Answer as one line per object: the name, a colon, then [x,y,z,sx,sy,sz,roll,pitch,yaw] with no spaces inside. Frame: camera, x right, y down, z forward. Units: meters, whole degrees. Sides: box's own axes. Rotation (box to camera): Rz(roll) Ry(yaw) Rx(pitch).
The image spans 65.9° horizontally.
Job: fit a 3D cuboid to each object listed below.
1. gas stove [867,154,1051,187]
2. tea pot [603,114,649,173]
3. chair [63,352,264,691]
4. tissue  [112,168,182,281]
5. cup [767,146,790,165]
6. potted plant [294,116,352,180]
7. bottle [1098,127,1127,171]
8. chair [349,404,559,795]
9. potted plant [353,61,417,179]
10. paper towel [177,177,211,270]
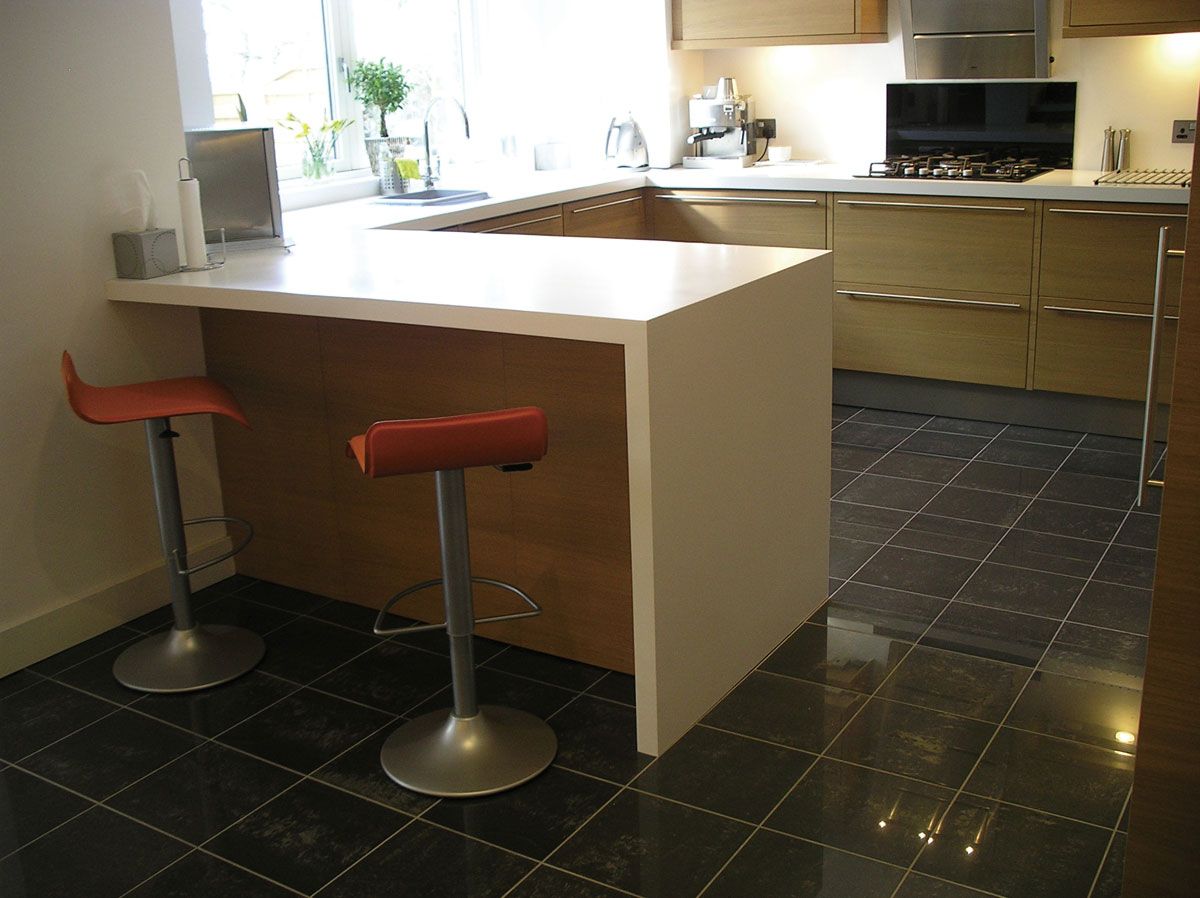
gas stove: [1.770,-1.390,4.598,0.831,0.104,0.554,3,20,20]
tea pot: [0.150,-1.737,5.227,0.339,0.321,0.241,4,17,19]
chair: [-1.299,0.170,2.810,0.522,1.000,0.534,-10,20,-15]
tissue : [-1.455,-0.708,2.935,0.188,0.325,0.162,-18,24,-34]
cup: [1.002,-1.650,5.209,0.116,0.086,0.110,-3,18,1]
potted plant: [-1.417,-1.551,4.762,0.266,0.290,0.357,-9,20,-12]
bottle: [2.489,-1.449,4.479,0.124,0.199,0.078,6,22,27]
chair: [-0.371,0.338,2.399,0.554,0.949,0.548,2,14,15]
potted plant: [-1.106,-1.721,4.704,0.256,0.463,0.183,4,27,4]
paper towel: [-1.338,-0.738,3.035,0.085,0.282,0.181,-11,21,-19]
